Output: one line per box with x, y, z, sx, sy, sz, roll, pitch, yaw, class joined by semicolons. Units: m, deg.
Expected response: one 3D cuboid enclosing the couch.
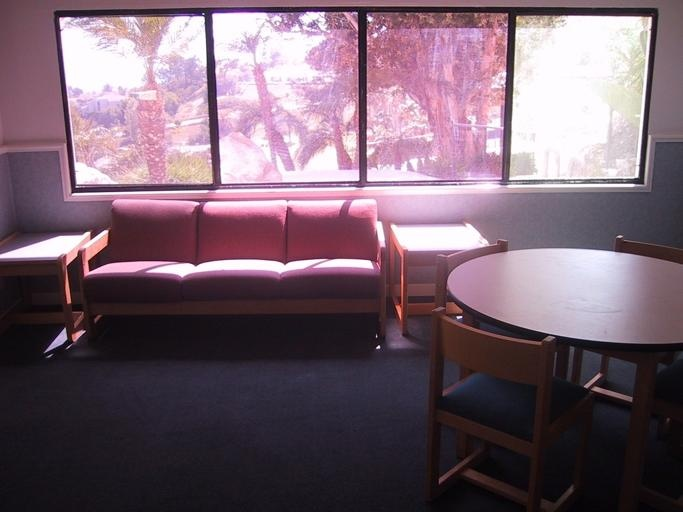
-0.905;0.085;4.742;2.517;1.078;0.931;-1;14;-2;couch

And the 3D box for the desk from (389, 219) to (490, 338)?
0.734;0.064;4.852;0.940;1.055;0.977;-2;29;-2;desk
